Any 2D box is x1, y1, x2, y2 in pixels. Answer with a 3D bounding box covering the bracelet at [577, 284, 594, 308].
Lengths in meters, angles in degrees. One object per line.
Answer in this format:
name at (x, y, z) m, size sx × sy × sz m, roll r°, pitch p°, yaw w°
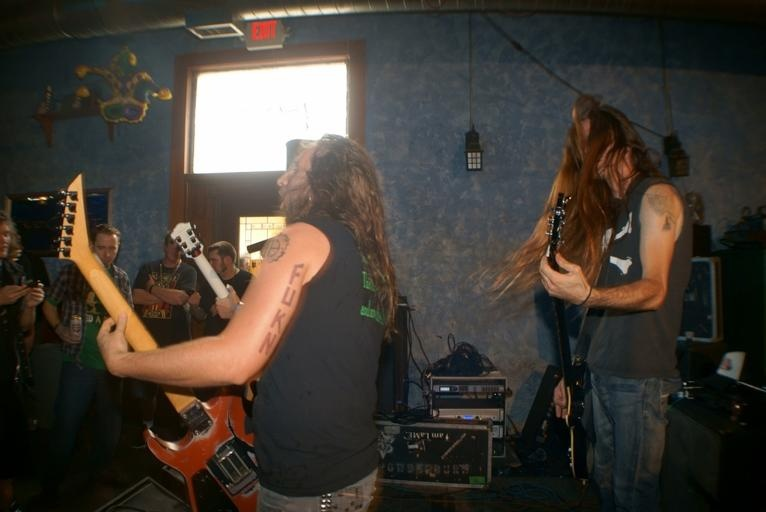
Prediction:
bracelet at (1.592, 0.318, 5.276) m, size 0.083 × 0.150 × 0.150 m, roll 0°, pitch 2°, yaw -10°
